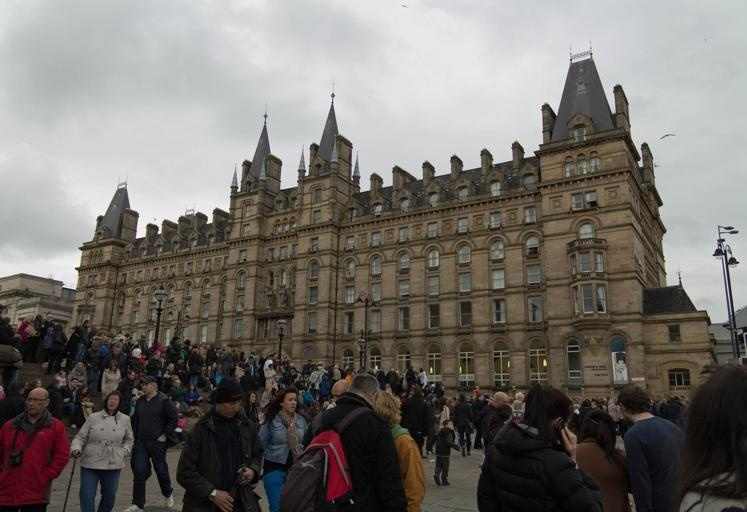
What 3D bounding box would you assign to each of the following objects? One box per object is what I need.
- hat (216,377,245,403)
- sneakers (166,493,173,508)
[{"bbox_3d":[-2.121,1.974,8.583,0.311,0.339,0.413,12,-33,-42],"label":"hat"},{"bbox_3d":[-4.449,5.352,12.826,0.148,0.171,0.412,4,-17,-18],"label":"sneakers"}]
